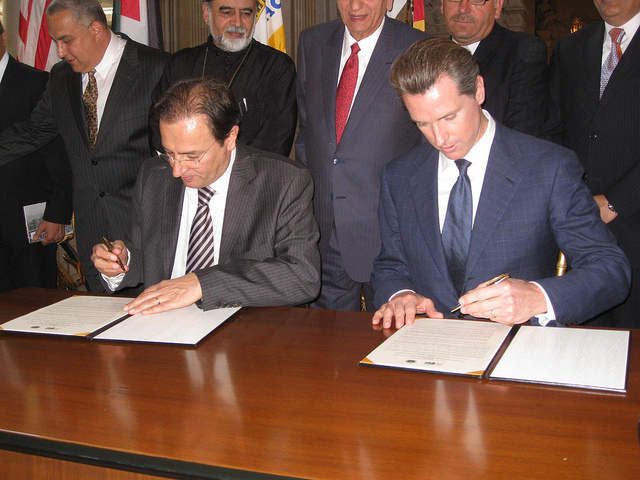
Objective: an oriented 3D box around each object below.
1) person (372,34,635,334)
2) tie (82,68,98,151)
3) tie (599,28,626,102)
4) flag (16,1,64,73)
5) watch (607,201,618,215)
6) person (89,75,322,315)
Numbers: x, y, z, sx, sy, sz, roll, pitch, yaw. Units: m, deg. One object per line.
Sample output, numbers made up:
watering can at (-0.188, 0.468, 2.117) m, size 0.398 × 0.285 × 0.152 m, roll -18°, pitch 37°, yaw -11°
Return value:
person at (0.675, -0.219, 2.038) m, size 0.971 × 1.109 × 0.720 m, roll 1°, pitch 14°, yaw 10°
tie at (-1.406, -0.829, 3.295) m, size 0.077 × 0.590 × 0.060 m, roll -5°, pitch -4°, yaw 0°
tie at (1.633, -0.968, 2.969) m, size 0.054 × 0.402 × 0.094 m, roll 2°, pitch 8°, yaw -35°
flag at (-2.727, -1.964, 5.088) m, size 0.494 × 0.654 × 0.178 m, roll 6°, pitch 15°, yaw 31°
watch at (1.511, -0.172, 2.753) m, size 0.021 × 0.056 × 0.041 m, roll -41°, pitch 14°, yaw 9°
person at (-0.512, -0.234, 2.530) m, size 0.747 × 1.302 × 0.810 m, roll 18°, pitch 37°, yaw 17°
